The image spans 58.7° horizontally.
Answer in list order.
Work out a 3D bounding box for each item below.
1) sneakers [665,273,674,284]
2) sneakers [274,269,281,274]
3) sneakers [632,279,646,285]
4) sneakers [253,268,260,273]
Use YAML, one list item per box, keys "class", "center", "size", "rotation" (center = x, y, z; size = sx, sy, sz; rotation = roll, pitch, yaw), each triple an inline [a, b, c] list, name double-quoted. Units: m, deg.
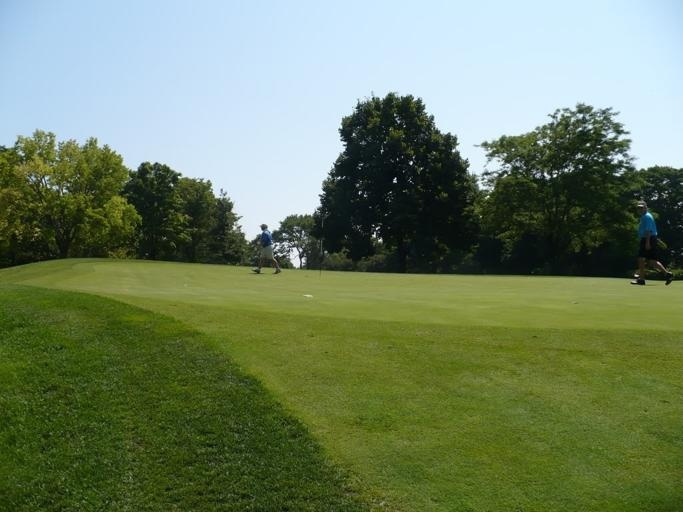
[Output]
- class: "sneakers"
  center: [8.246, 0.557, 15.314]
  size: [0.119, 0.345, 0.227]
  rotation: [-1, 10, 11]
- class: "sneakers"
  center: [-2.130, 0.498, 20.436]
  size: [0.101, 0.137, 0.306]
  rotation: [-1, 3, -10]
- class: "sneakers"
  center: [7.614, 0.663, 15.539]
  size: [0.158, 0.178, 0.392]
  rotation: [0, 0, -2]
- class: "sneakers"
  center: [-2.924, 0.492, 21.014]
  size: [0.141, 0.194, 0.410]
  rotation: [1, 5, -39]
